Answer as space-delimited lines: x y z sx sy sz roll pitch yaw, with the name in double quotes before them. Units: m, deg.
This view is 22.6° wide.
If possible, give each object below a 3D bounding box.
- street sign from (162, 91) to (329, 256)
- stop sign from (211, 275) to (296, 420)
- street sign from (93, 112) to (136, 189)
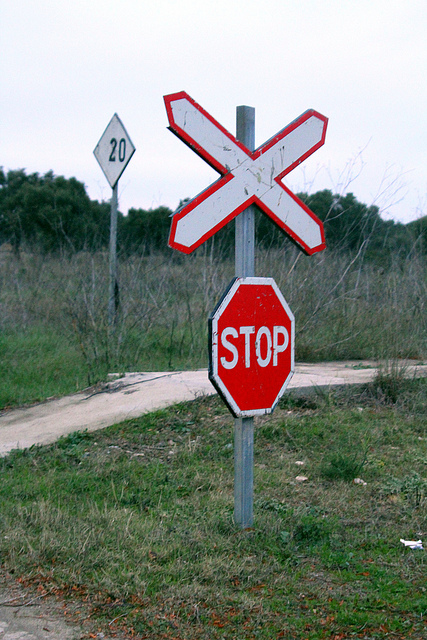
"street sign" 0.185 -0.721 5.412 0.237 0.819 1.079 4 8 43
"stop sign" 0.205 0.125 5.428 0.110 0.688 0.629 3 7 38
"street sign" -1.060 -1.772 11.255 0.220 0.770 0.949 -3 6 -21
